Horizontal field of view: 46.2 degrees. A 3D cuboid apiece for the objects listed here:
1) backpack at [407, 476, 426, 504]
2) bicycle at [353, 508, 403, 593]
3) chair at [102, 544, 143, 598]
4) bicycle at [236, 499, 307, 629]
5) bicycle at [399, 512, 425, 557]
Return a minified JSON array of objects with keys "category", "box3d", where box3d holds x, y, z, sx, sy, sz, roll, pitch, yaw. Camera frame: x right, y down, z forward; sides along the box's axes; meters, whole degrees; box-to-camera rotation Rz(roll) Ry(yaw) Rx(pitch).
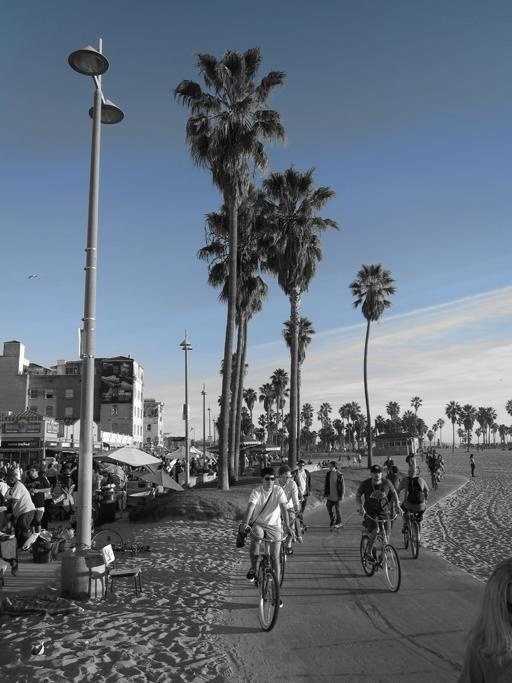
[{"category":"backpack","box3d":[3.056,2.834,11.383,0.360,0.516,0.209,-2,-6,7]},{"category":"bicycle","box3d":[1.830,3.182,8.694,0.422,0.741,1.082,3,-21,-5]},{"category":"chair","box3d":[-1.858,3.185,8.301,0.436,0.771,0.430,-4,-4,5]},{"category":"bicycle","box3d":[0.130,2.416,6.941,0.544,0.902,1.291,2,-12,-2]},{"category":"bicycle","box3d":[2.983,3.691,11.542,0.342,0.570,0.825,0,-15,-1]}]
